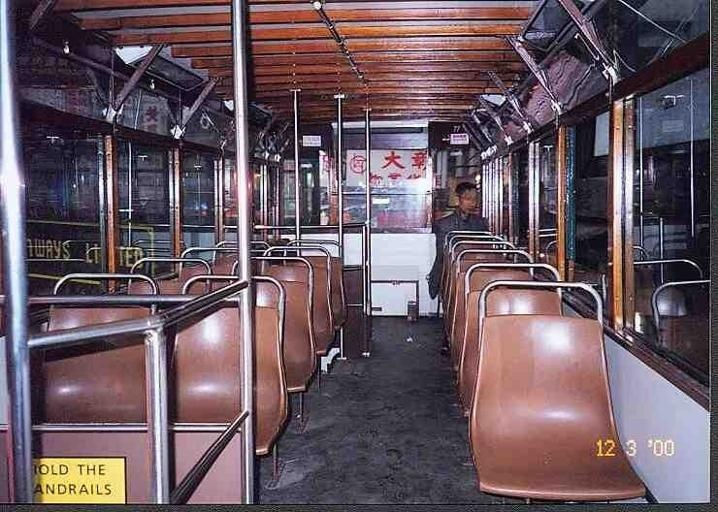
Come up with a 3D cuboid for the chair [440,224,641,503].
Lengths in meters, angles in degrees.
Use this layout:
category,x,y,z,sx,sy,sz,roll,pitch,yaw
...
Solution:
category,x,y,z,sx,sy,sz,roll,pitch,yaw
chair,1.112,0.730,3.853,1.035,1.488,1.134,1,-2,0
